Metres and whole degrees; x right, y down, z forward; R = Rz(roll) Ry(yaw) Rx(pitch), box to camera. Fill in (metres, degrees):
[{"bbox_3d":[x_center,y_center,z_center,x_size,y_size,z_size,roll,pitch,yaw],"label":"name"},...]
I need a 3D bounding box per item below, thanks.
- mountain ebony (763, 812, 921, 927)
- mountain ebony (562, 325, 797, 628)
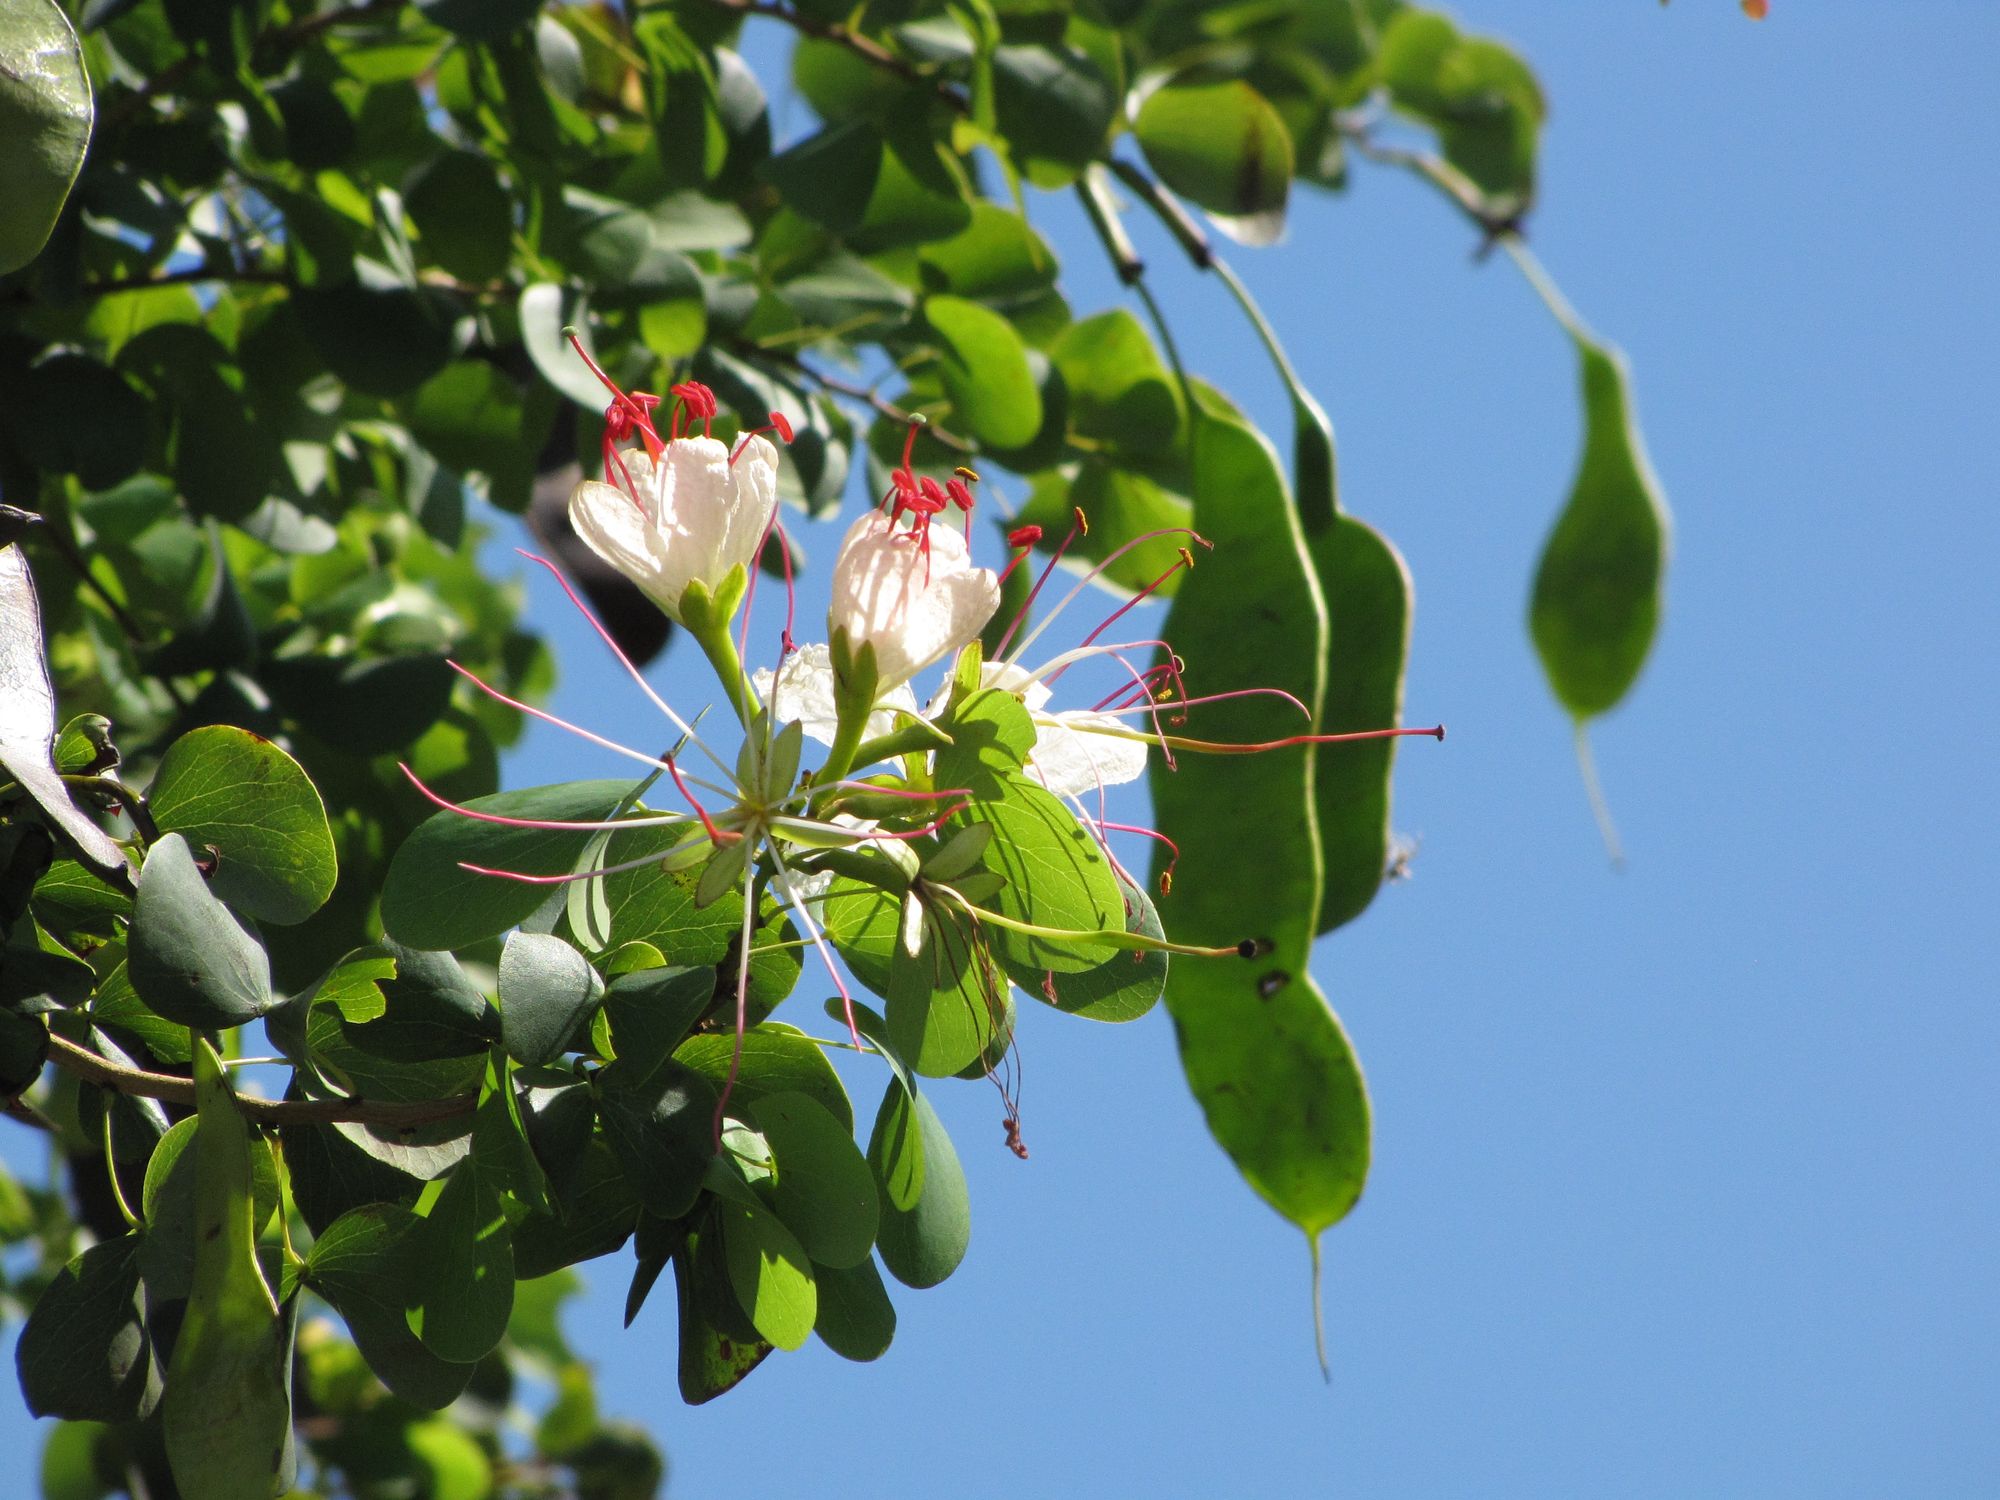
[{"bbox_3d":[-0.155,0.098,3.244,0.111,0.081,0.145,17,-19,-40],"label":"mountain ebony"},{"bbox_3d":[-0.292,-0.217,3.334,0.156,0.292,0.173,-17,3,22],"label":"mountain ebony"}]
